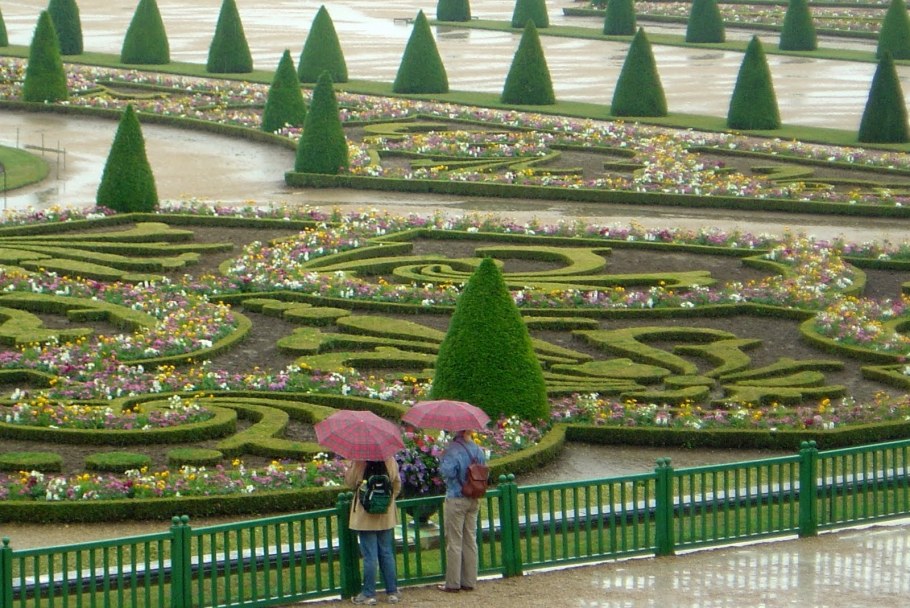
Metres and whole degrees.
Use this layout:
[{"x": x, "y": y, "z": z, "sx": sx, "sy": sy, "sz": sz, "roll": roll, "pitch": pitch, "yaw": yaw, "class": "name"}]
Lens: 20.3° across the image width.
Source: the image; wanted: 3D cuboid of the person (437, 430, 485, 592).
[{"x": 0.127, "y": 3.734, "z": 45.449, "sx": 0.888, "sy": 2.631, "sz": 0.368, "roll": -3, "pitch": -1, "yaw": -1, "class": "person"}]

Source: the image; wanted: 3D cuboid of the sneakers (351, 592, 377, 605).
[{"x": -1.651, "y": 5.282, "z": 45.185, "sx": 0.449, "sy": 0.166, "sz": 0.182, "roll": 4, "pitch": 7, "yaw": 18, "class": "sneakers"}]

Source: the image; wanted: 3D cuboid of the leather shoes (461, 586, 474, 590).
[{"x": 0.202, "y": 5.112, "z": 45.314, "sx": 0.223, "sy": 0.083, "sz": 0.041, "roll": -2, "pitch": -1, "yaw": -2, "class": "leather shoes"}]

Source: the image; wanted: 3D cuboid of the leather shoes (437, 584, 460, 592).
[{"x": -0.149, "y": 5.129, "z": 45.379, "sx": 0.366, "sy": 0.087, "sz": 0.130, "roll": 6, "pitch": 10, "yaw": 16, "class": "leather shoes"}]
